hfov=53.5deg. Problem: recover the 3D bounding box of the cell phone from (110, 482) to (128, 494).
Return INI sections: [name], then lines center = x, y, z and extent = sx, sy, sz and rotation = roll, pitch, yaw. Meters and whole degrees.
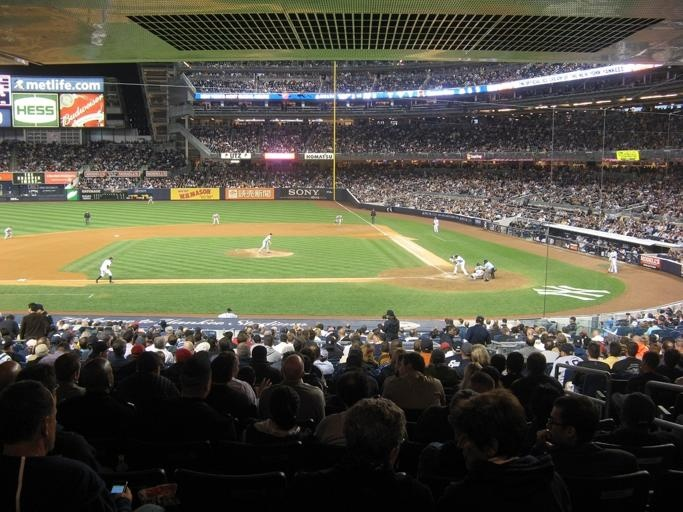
[cell phone]
center = -1.981, 2.045, 5.993
extent = 0.141, 0.061, 0.206
rotation = -2, 9, -19
